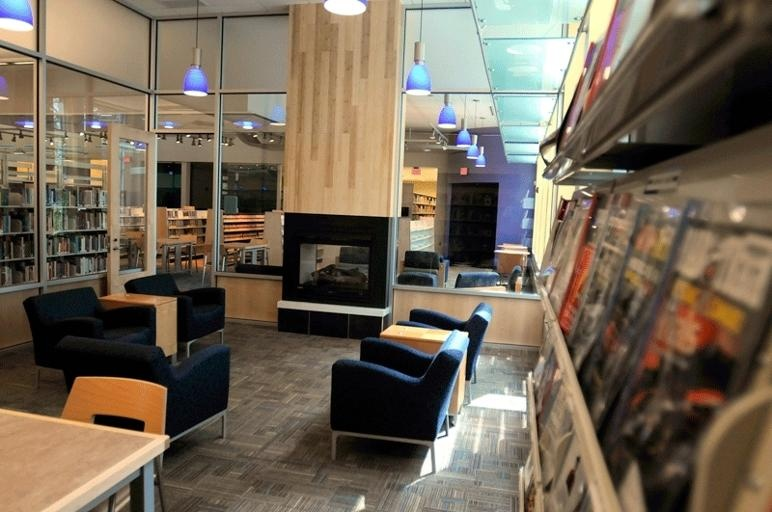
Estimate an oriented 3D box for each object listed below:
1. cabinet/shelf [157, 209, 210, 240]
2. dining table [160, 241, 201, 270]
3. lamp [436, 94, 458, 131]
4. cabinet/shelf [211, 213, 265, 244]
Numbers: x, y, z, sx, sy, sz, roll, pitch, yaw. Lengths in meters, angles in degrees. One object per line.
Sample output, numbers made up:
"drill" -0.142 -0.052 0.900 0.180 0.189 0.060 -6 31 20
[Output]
"cabinet/shelf" -4.306 -0.683 11.293 0.712 0.712 2.009 -3 8 -36
"dining table" -4.258 0.043 10.917 0.597 0.681 1.355 -4 9 -39
"lamp" 0.744 -1.739 6.419 0.230 0.423 0.400 3 7 5
"cabinet/shelf" -1.949 -0.362 7.197 0.652 0.412 0.115 4 8 18
